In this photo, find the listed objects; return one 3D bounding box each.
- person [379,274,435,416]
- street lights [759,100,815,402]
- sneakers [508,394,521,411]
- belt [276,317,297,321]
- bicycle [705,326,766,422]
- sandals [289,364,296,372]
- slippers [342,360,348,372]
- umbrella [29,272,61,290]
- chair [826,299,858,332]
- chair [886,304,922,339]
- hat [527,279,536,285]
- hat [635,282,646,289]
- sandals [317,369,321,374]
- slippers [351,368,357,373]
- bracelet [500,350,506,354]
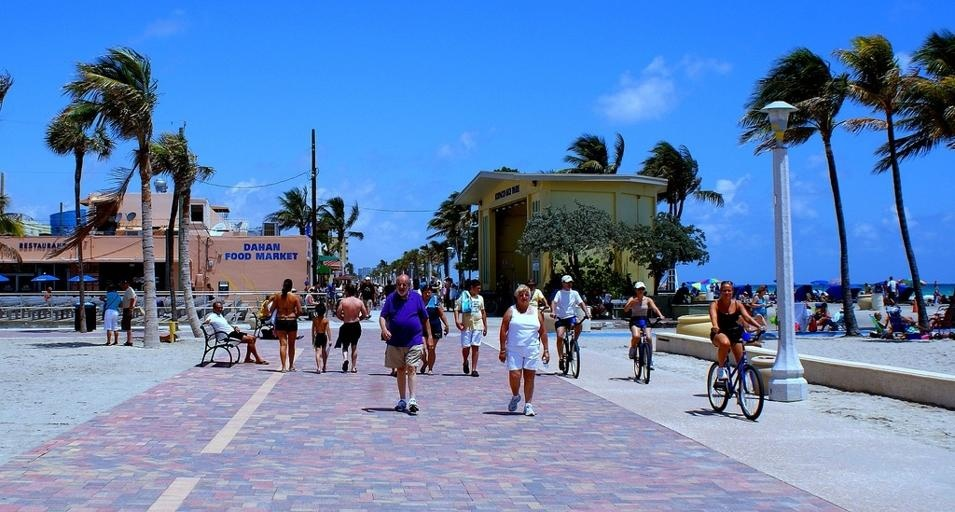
[{"bbox_3d":[-1.565,1.886,16.848,1.047,2.922,1.526,1,-4,-4],"label":"person"},{"bbox_3d":[7.172,-0.158,18.172,0.756,6.981,0.575,2,-4,-17],"label":"street lights"},{"bbox_3d":[0.806,3.141,16.651,0.168,0.416,0.192,6,-2,10],"label":"sneakers"},{"bbox_3d":[-5.212,1.701,21.350,0.495,0.102,0.133,2,-5,-27],"label":"belt"},{"bbox_3d":[5.566,2.736,16.610,0.658,1.378,1.519,1,-4,-13],"label":"bicycle"},{"bbox_3d":[-5.141,3.117,21.687,0.197,0.175,0.448,-1,-3,-4],"label":"sandals"},{"bbox_3d":[-3.598,3.028,21.306,0.163,0.338,0.148,4,25,-13],"label":"slippers"},{"bbox_3d":[-28.525,1.724,51.458,1.154,0.797,1.140,5,7,31],"label":"umbrella"},{"bbox_3d":[15.610,2.668,33.615,1.276,1.293,4.551,-2,-5,24],"label":"chair"},{"bbox_3d":[16.384,2.617,30.333,0.901,1.004,1.722,0,9,0],"label":"chair"},{"bbox_3d":[1.816,0.828,25.827,0.325,0.138,0.440,0,-5,7],"label":"hat"},{"bbox_3d":[4.287,0.779,20.429,0.330,0.164,0.487,1,-2,0],"label":"hat"},{"bbox_3d":[-4.340,3.153,21.320,0.116,0.097,0.094,-2,2,-7],"label":"sandals"},{"bbox_3d":[-3.370,3.134,21.380,0.155,0.091,0.088,5,-4,-15],"label":"slippers"},{"bbox_3d":[0.546,2.014,16.407,0.078,0.077,0.139,-4,-6,41],"label":"bracelet"}]
